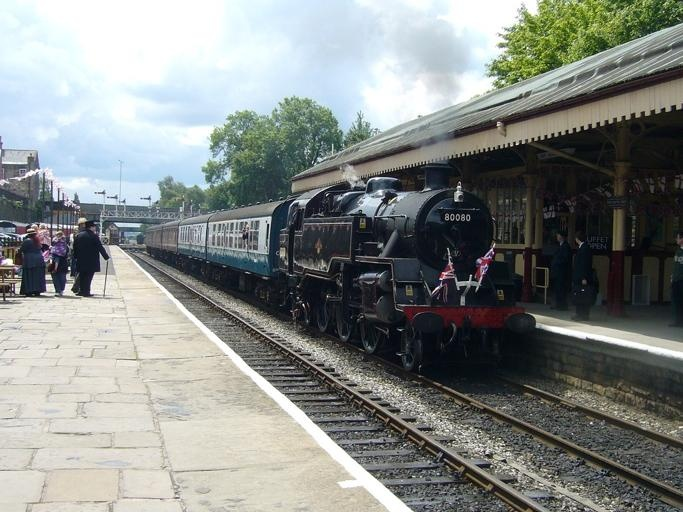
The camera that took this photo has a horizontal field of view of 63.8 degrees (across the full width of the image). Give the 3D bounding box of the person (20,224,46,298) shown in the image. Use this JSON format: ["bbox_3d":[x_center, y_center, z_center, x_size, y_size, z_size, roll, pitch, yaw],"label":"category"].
[{"bbox_3d":[-8.632,0.172,15.443,0.591,1.998,1.521,1,1,-31],"label":"person"}]

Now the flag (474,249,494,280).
[{"bbox_3d":[2.511,0.151,9.714,0.299,0.500,0.669,1,0,14],"label":"flag"}]

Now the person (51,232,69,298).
[{"bbox_3d":[-8.572,0.197,16.746,0.429,1.910,1.389,1,1,-28],"label":"person"}]

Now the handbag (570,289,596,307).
[{"bbox_3d":[4.687,0.783,10.635,0.423,0.349,0.166,1,0,-2],"label":"handbag"}]
